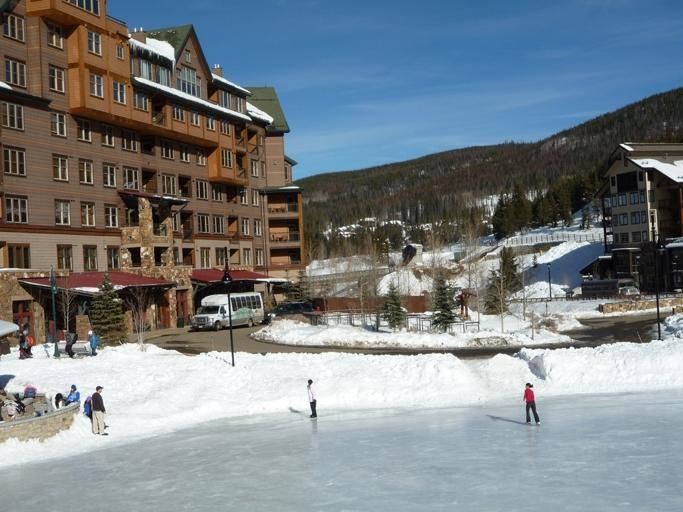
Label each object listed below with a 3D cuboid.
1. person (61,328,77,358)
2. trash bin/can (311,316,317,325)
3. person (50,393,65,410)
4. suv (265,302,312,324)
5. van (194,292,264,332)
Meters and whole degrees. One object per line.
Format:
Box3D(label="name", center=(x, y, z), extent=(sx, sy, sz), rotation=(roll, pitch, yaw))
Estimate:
Box3D(label="person", center=(-16.873, 5.448, 51.537), extent=(0.718, 1.314, 2.374), rotation=(-4, 9, -19))
Box3D(label="trash bin/can", center=(-1.884, 5.289, 67.738), extent=(0.506, 0.566, 0.494), rotation=(2, -5, -26))
Box3D(label="person", center=(-14.375, 7.266, 42.051), extent=(0.570, 0.716, 0.672), rotation=(3, -12, -5))
Box3D(label="suv", center=(-4.301, 4.650, 71.997), extent=(1.908, 1.815, 3.222), rotation=(-5, -7, 44))
Box3D(label="van", center=(-8.804, 4.463, 67.369), extent=(2.764, 2.657, 6.849), rotation=(-5, -5, 31))
